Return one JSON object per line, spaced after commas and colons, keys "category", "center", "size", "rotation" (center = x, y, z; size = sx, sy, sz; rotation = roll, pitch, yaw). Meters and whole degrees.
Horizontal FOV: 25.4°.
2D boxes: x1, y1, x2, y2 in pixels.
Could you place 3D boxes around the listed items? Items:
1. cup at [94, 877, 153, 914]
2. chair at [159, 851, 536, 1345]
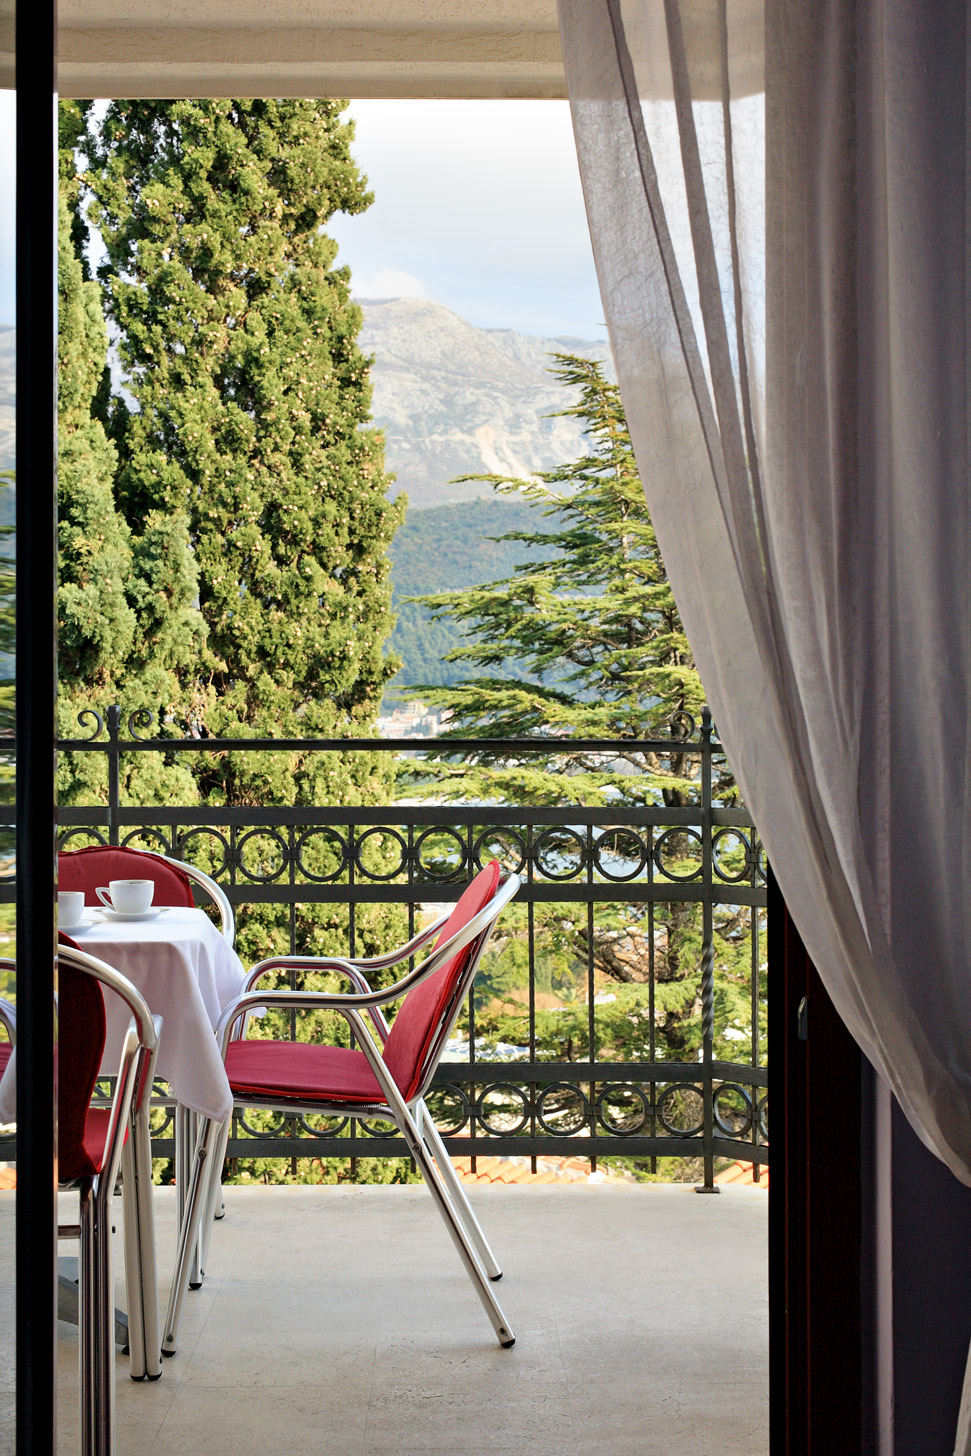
{"category": "cup", "center": [-0.579, 0.265, 3.479], "size": [0.093, 0.063, 0.076], "rotation": [0, 1, 16]}
{"category": "chair", "center": [-0.250, 0.579, 3.428], "size": [0.597, 0.725, 0.573], "rotation": [1, 1, 22]}
